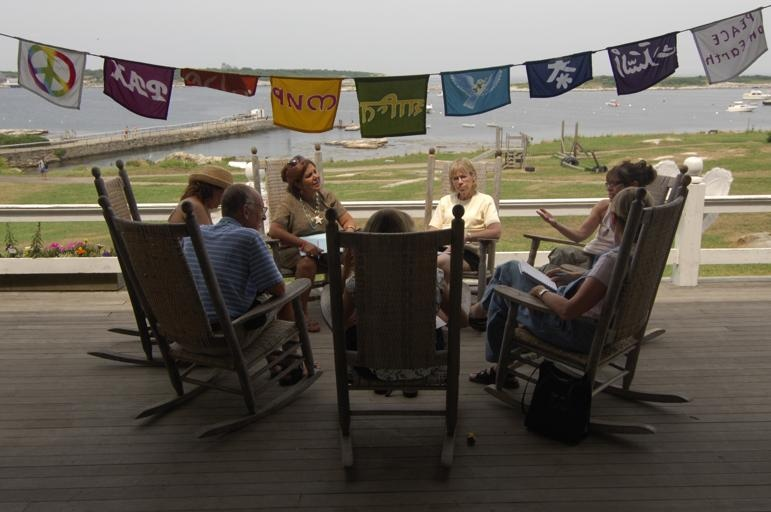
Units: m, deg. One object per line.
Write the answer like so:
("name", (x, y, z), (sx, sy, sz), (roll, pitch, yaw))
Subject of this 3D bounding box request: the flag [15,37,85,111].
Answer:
("flag", (-3.216, -1.744, 7.620), (0.702, 0.669, 0.304), (-6, 16, -8))

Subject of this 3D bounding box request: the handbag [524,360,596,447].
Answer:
("handbag", (1.344, 1.158, 6.084), (0.591, 0.629, 0.312), (11, -1, 27))

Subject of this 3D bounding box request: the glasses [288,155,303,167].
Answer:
("glasses", (-0.888, -0.938, 7.799), (0.122, 0.123, 0.151), (2, -2, 4))

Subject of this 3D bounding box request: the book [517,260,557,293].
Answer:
("book", (1.216, 0.173, 6.319), (0.275, 0.060, 0.260), (26, 6, -26))

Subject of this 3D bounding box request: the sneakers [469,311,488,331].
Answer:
("sneakers", (0.853, 0.615, 7.339), (0.162, 0.113, 0.178), (-1, 2, 7))

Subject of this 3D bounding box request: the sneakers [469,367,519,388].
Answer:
("sneakers", (0.891, 1.008, 6.638), (0.420, 0.149, 0.150), (3, 5, 14))

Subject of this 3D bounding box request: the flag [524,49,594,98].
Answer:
("flag", (1.716, -1.789, 7.848), (0.652, 0.421, 0.269), (-1, 16, 9))
